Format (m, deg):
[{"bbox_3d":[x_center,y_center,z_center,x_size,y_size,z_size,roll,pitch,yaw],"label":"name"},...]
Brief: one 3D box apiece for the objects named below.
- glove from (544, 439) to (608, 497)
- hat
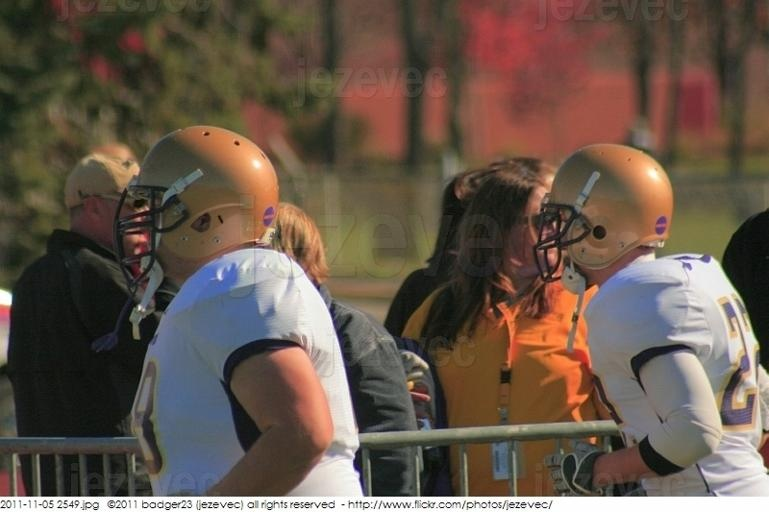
[{"bbox_3d":[0.894,1.019,9.248,0.275,0.261,0.124,0,14,30],"label":"glove"},{"bbox_3d":[-1.556,-0.430,10.614,0.447,0.222,0.307,-24,11,-2],"label":"hat"}]
